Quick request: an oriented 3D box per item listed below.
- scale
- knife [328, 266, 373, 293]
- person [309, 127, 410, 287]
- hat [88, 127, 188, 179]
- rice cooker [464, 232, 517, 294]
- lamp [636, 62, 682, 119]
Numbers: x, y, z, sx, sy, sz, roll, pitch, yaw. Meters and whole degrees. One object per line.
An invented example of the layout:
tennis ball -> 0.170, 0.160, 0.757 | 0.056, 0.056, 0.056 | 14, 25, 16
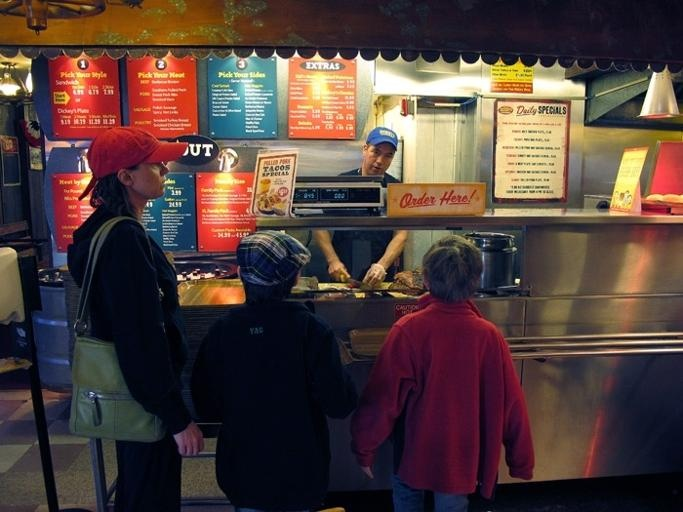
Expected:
scale -> -0.030, -0.358, 4.219 | 0.546, 0.232, 0.111 | 0, 9, -5
knife -> 0.052, 0.159, 4.747 | 0.114, 0.048, 0.462 | -32, 19, -20
person -> 0.128, -0.227, 5.512 | 0.577, 1.417, 0.577 | 4, 9, -10
hat -> -1.061, -0.512, 3.653 | 0.449, 0.171, 0.271 | -10, 22, -16
rice cooker -> 0.977, 0.039, 4.450 | 0.347, 0.359, 0.343 | 0, 3, -13
lamp -> 2.168, -1.118, 4.832 | 0.208, 0.302, 0.295 | 7, 11, 35
